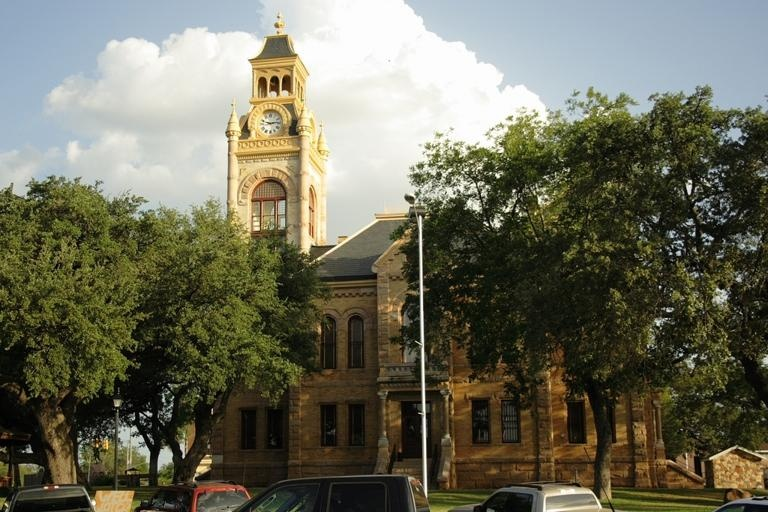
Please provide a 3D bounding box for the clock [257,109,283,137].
[{"bbox_3d":[-8.554,-10.109,79.513,2.074,2.185,0.298,-1,-14,0],"label":"clock"}]
